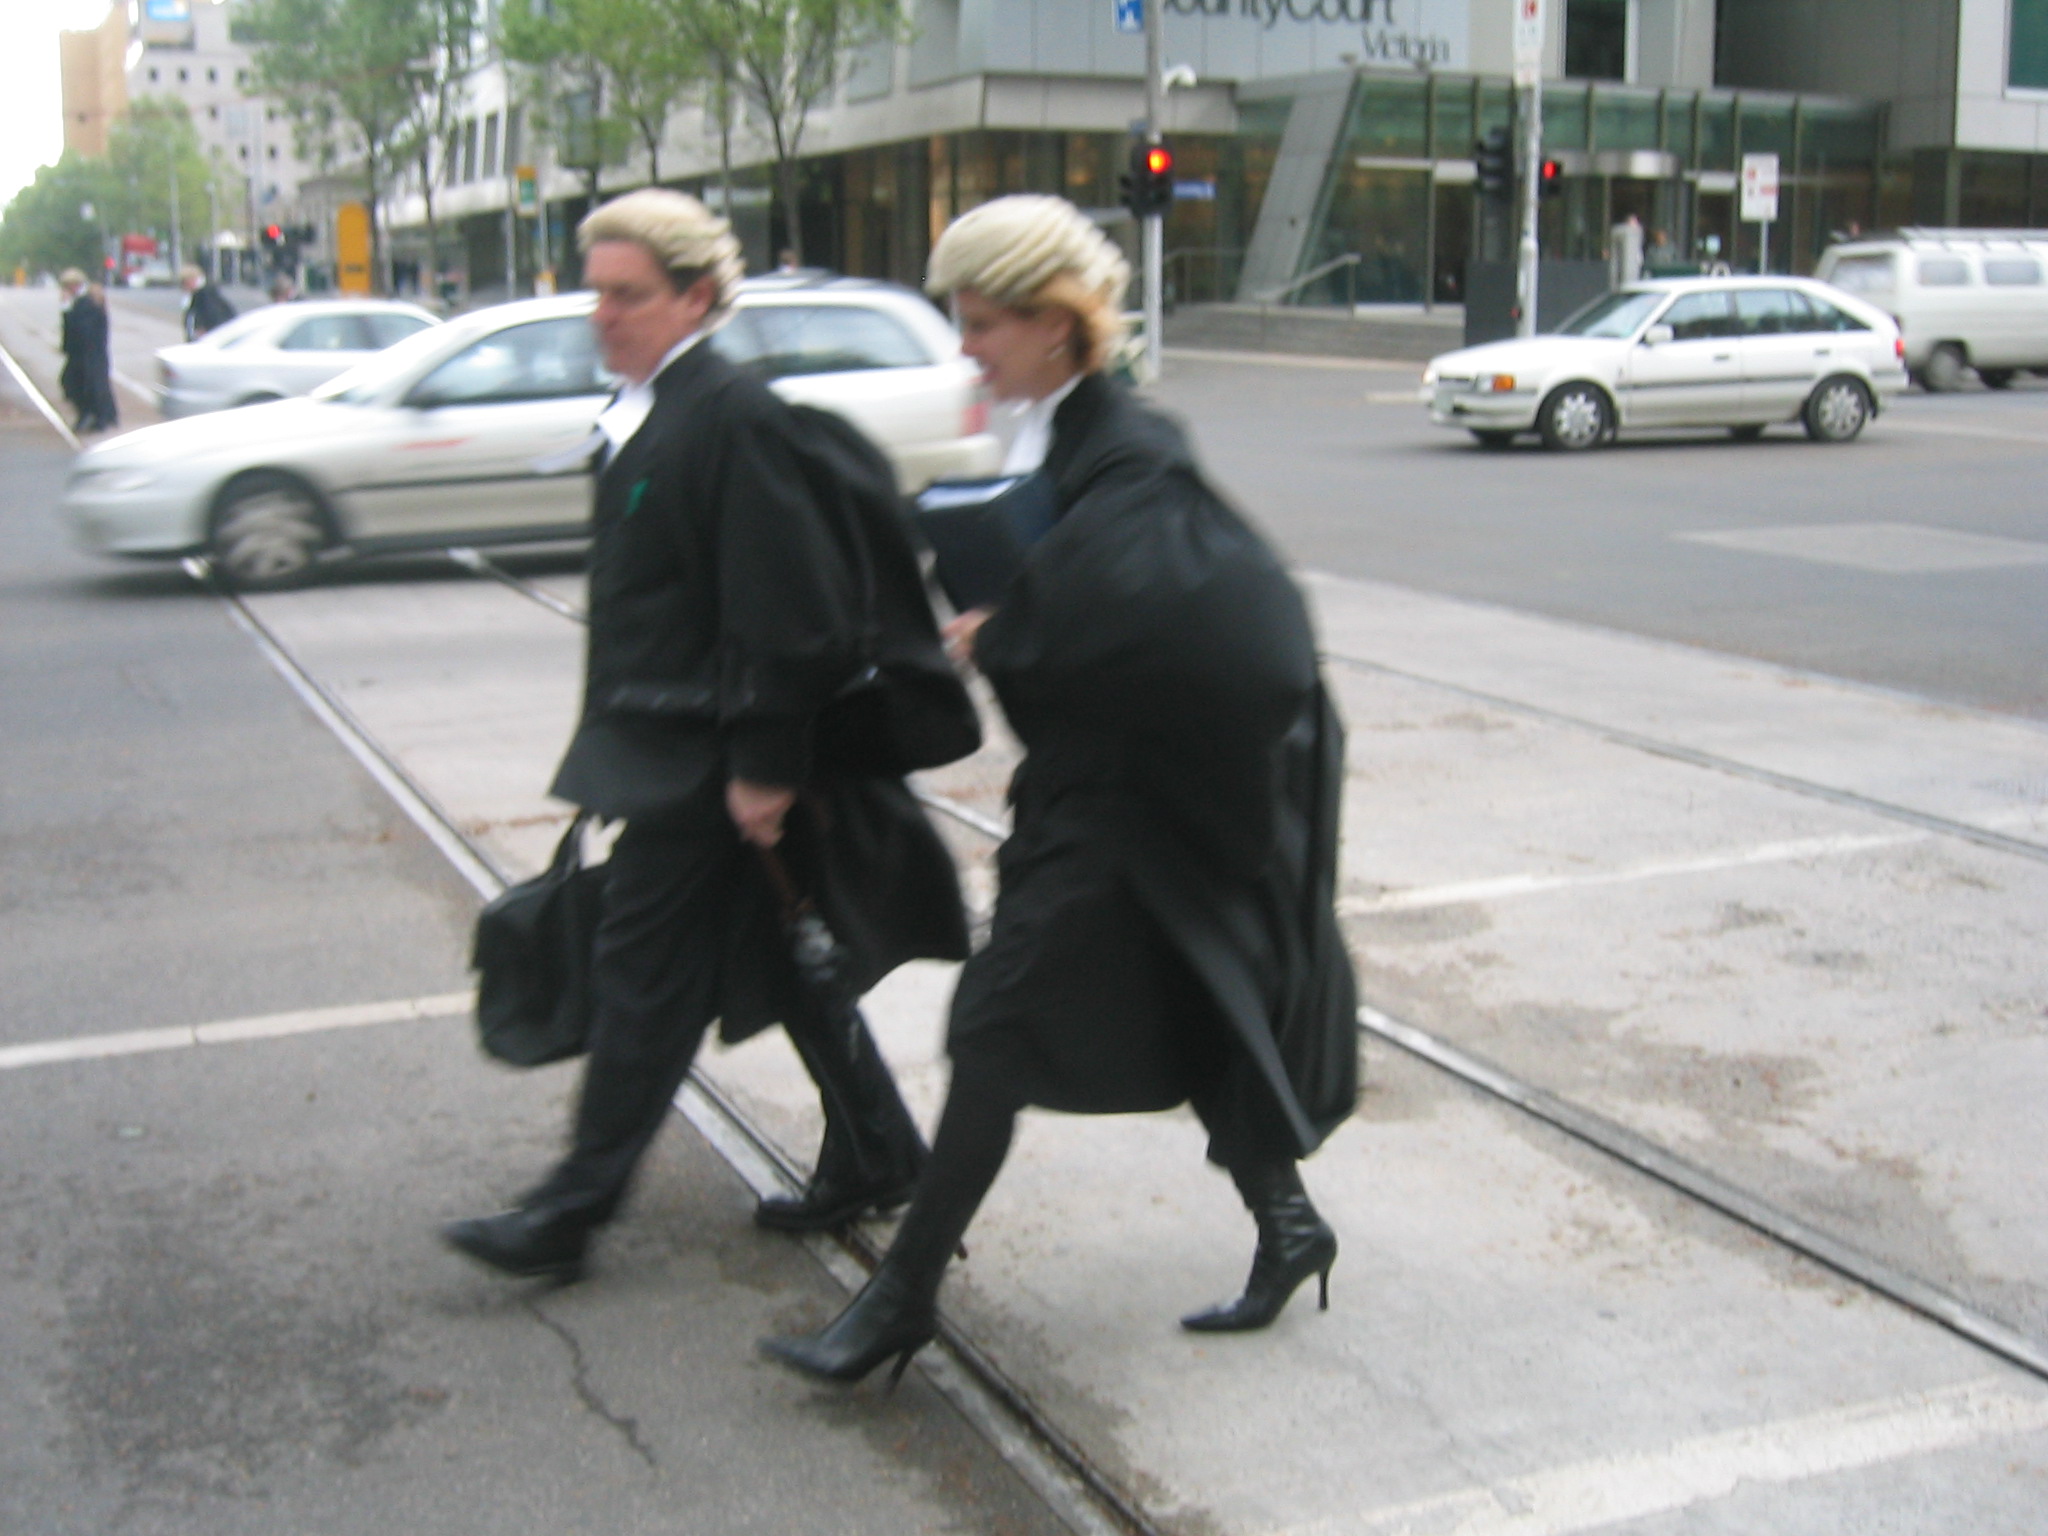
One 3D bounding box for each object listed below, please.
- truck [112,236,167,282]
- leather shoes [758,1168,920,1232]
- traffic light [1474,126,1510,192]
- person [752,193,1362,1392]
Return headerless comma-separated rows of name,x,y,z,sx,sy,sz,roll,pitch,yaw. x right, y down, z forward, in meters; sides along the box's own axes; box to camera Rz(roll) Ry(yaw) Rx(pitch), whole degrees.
truck,-70.247,-40.400,155.623,1.952,3.879,3.605,-7,11,-38
leather shoes,-0.395,0.894,4.209,0.330,0.186,0.134,2,4,1
traffic light,6.379,-8.211,26.724,0.460,0.808,0.761,3,15,16
person,0.137,0.094,3.440,0.885,2.105,0.386,2,14,10
